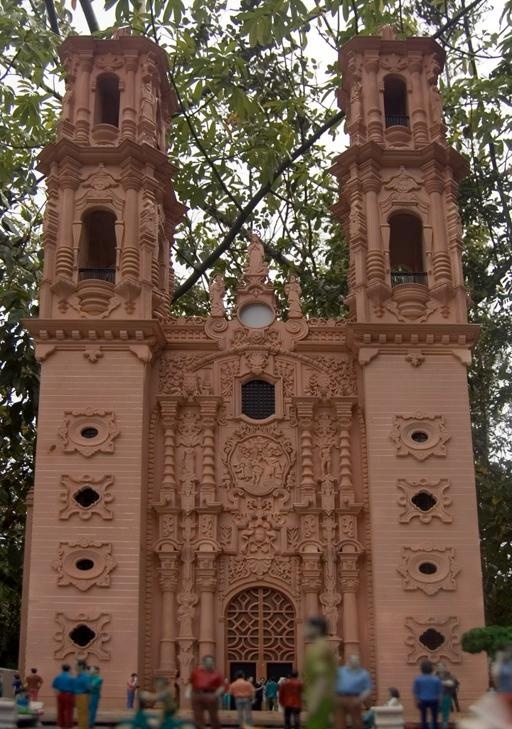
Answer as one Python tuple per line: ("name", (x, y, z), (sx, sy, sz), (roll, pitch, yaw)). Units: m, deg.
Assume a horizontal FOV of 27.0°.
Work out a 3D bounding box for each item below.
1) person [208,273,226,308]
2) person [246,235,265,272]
("person", (-0.827, -1.453, 22.006), (0.262, 0.863, 0.427), (1, -20, -6))
("person", (-0.024, -2.300, 22.330), (0.390, 1.079, 0.838), (-2, -20, 0))
